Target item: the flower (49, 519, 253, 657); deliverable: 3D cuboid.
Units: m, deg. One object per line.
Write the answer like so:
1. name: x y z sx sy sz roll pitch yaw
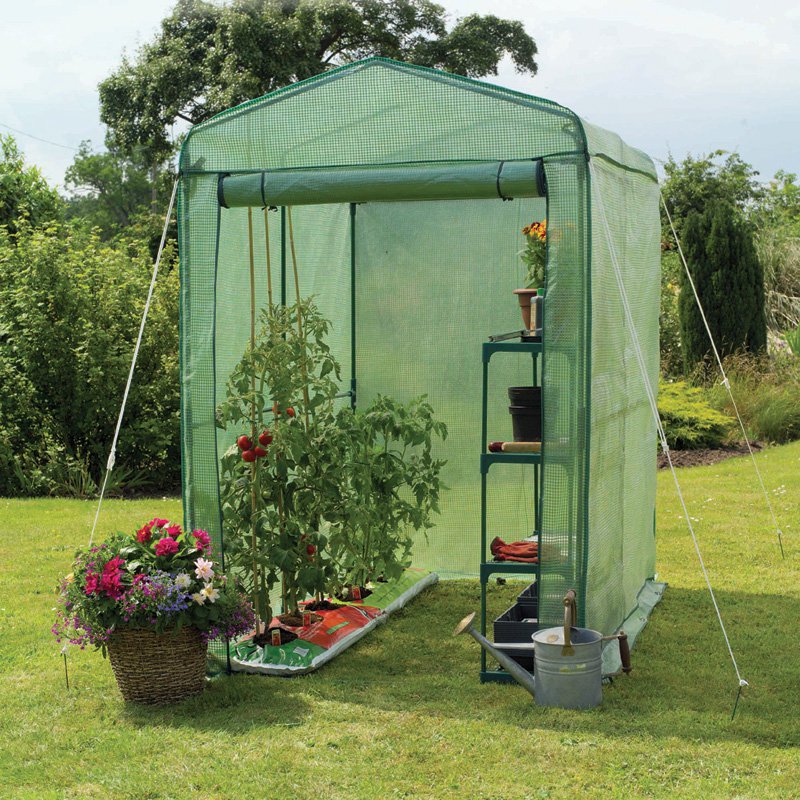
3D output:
1. flower: -1.159 0.873 7.159 0.812 0.631 0.816 -3 -8 -42

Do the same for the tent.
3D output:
1. tent: -0.061 -0.718 8.010 2.640 2.668 2.540 -16 27 -25

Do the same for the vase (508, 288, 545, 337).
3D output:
1. vase: 0.659 -0.448 7.529 0.211 0.236 0.211 1 -2 -6
